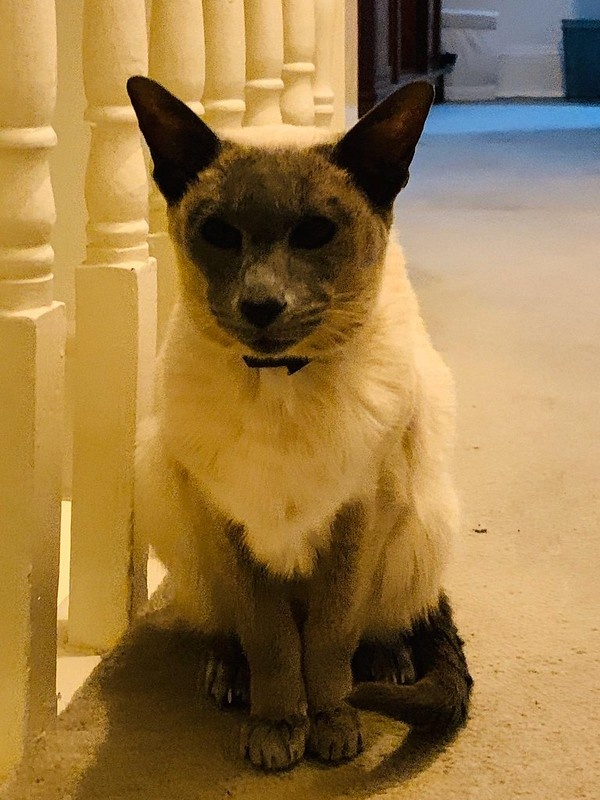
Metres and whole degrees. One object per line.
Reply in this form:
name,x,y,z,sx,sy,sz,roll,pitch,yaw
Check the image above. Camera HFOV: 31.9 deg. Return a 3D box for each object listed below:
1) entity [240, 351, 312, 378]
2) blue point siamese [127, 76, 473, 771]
entity,-0.019,-0.033,0.989,0.063,0.023,0.024,-2,16,-9
blue point siamese,0.031,0.039,1.088,0.383,0.714,0.303,-2,17,-9
